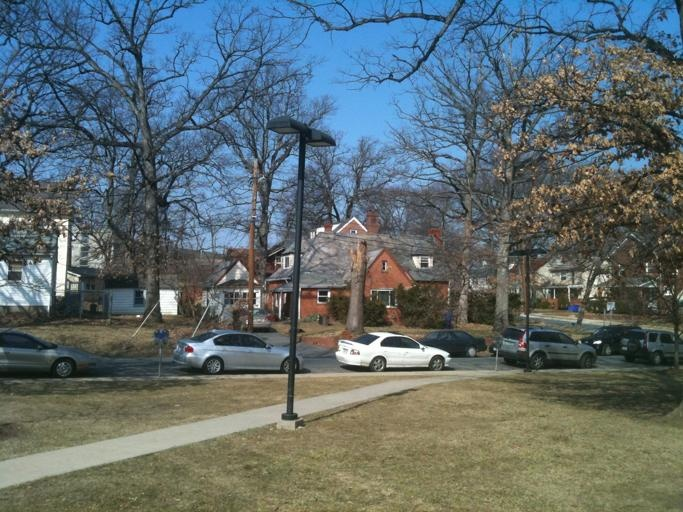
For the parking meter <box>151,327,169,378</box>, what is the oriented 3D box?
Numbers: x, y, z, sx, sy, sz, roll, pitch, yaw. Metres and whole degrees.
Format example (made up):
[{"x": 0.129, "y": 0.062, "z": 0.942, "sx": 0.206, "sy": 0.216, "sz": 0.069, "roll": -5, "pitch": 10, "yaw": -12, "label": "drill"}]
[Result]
[{"x": -5.834, "y": 3.158, "z": 24.719, "sx": 0.480, "sy": 1.384, "sz": 0.296, "roll": 1, "pitch": 1, "yaw": -1, "label": "parking meter"}]

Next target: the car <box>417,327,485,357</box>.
[{"x": 5.333, "y": 4.168, "z": 35.633, "sx": 3.033, "sy": 1.026, "sz": 1.282, "roll": 7, "pitch": -4, "yaw": -22, "label": "car"}]

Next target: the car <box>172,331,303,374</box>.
[{"x": -3.694, "y": 3.539, "z": 27.453, "sx": 4.479, "sy": 1.347, "sz": 1.856, "roll": 2, "pitch": -3, "yaw": -24, "label": "car"}]

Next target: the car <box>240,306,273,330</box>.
[{"x": -5.072, "y": 3.742, "z": 45.075, "sx": 1.510, "sy": 1.001, "sz": 3.112, "roll": 1, "pitch": -7, "yaw": -12, "label": "car"}]
